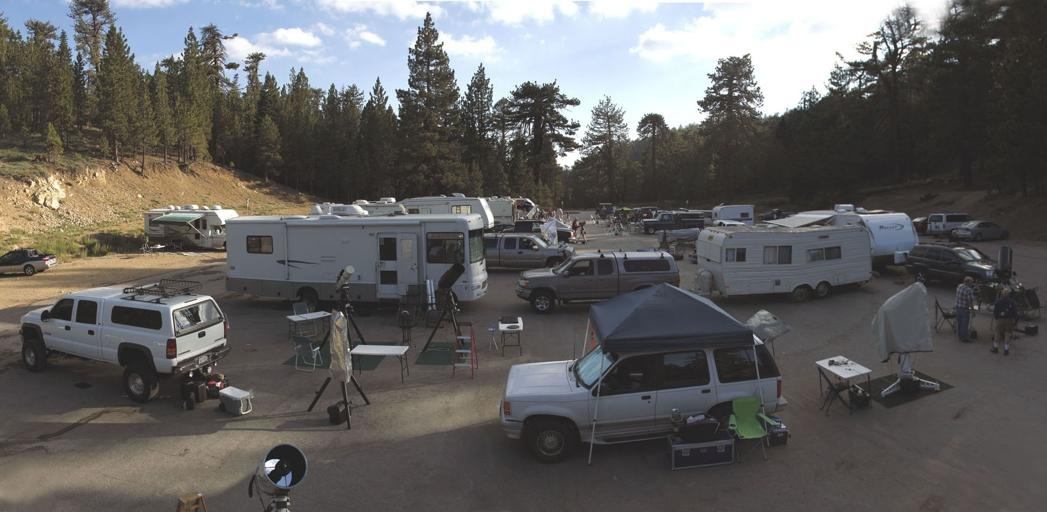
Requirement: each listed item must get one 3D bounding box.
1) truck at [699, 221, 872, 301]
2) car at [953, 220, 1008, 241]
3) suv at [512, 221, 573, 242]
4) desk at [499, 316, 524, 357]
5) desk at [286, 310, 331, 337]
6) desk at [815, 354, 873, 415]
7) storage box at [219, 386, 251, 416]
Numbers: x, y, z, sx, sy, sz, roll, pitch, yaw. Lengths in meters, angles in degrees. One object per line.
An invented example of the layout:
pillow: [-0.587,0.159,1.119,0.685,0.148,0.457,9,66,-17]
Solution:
truck: [21.702,0.361,61.796,16.045,5.459,5.017,-4,9,-20]
car: [46.699,-2.543,75.144,5.034,1.418,2.178,-4,6,1]
suv: [2.066,-2.797,76.693,4.980,2.055,2.710,-3,9,5]
desk: [-1.000,5.933,56.049,2.064,2.418,2.215,-3,11,-13]
desk: [-16.704,5.233,56.911,2.066,1.593,3.690,11,11,29]
desk: [22.823,9.355,52.438,2.552,2.703,3.038,-18,21,-16]
storage box: [-20.501,10.340,52.718,2.336,1.323,1.640,10,10,27]
